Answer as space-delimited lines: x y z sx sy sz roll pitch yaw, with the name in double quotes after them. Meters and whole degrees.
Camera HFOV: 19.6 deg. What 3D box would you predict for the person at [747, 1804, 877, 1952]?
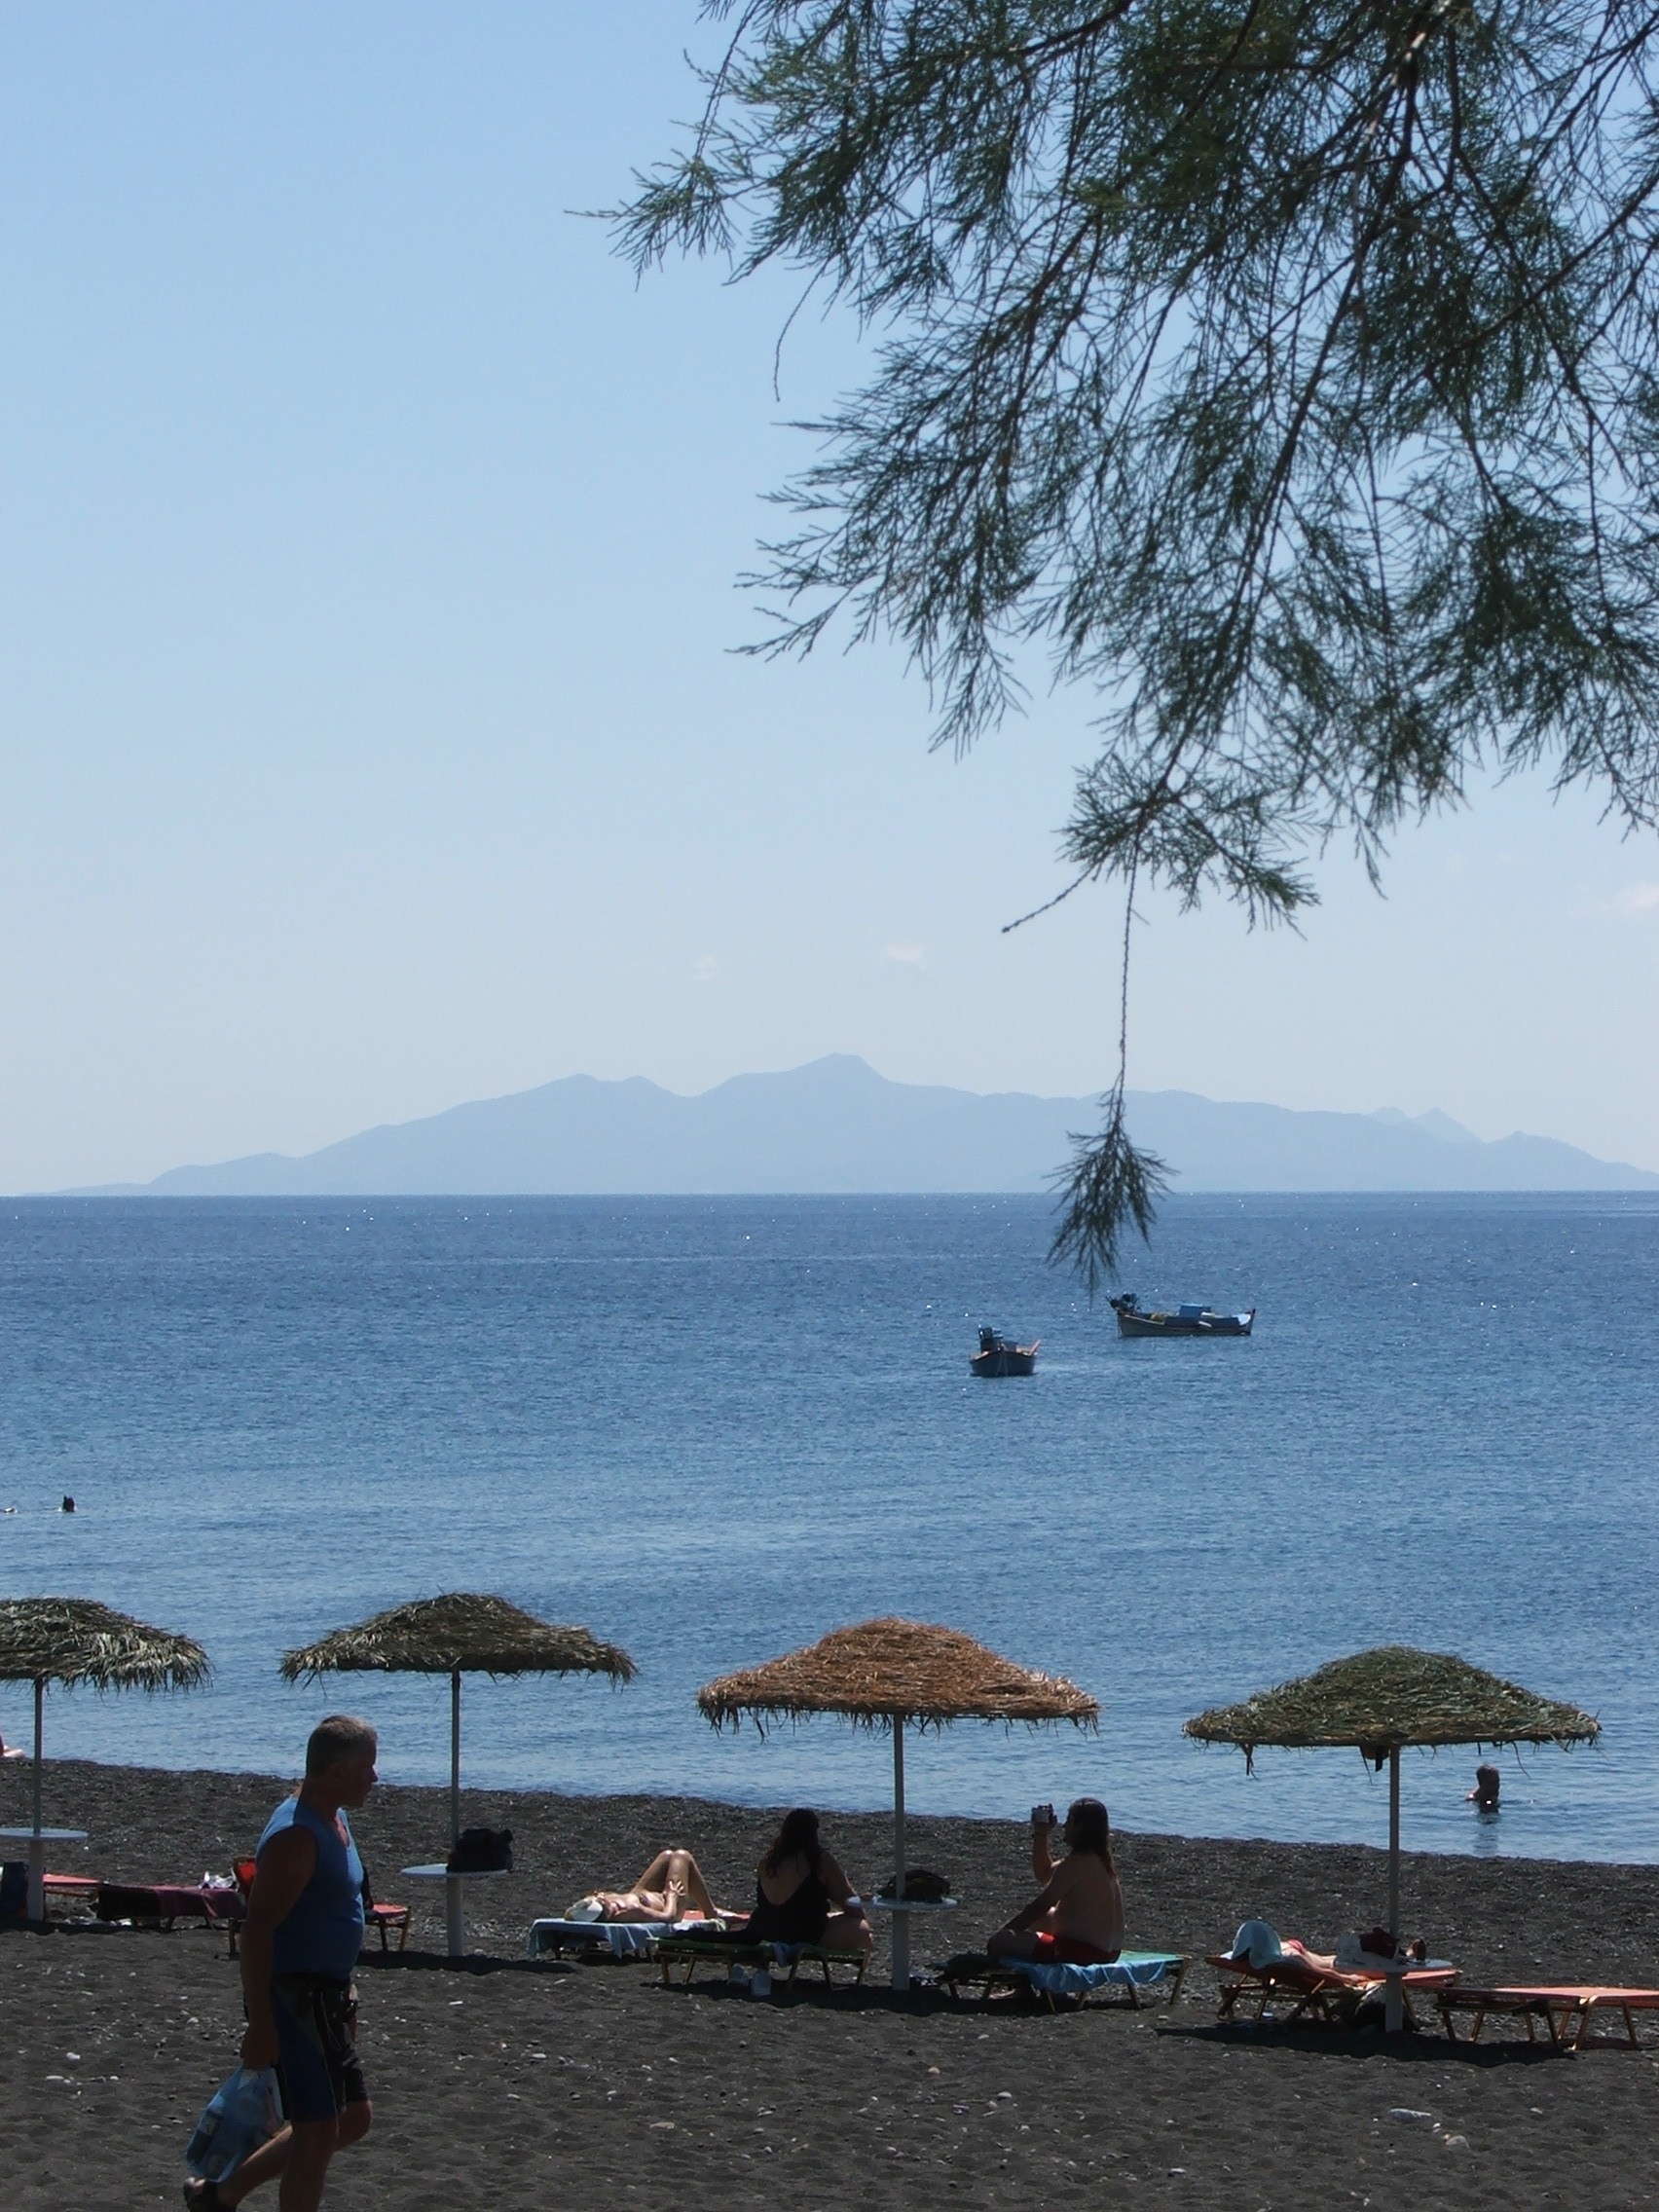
-0.129 3.712 22.973 0.608 0.722 0.472 -2 -13 26 "person"
